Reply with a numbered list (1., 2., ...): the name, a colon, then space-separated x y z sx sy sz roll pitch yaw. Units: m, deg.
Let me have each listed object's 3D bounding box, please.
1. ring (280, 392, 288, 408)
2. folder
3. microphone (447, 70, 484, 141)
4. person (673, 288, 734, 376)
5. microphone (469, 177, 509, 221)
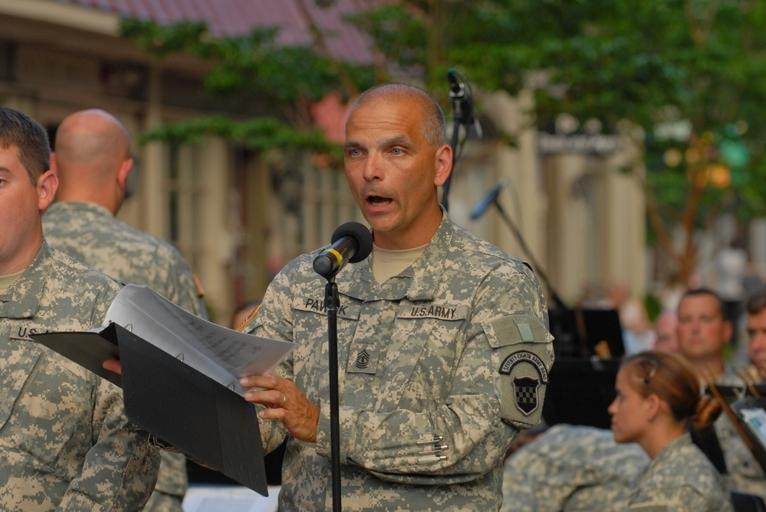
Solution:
1. ring: -0.562 0.827 8.731 0.016 0.070 0.070 -4 -27 -29
2. folder: -1.167 0.757 8.757 1.273 1.087 0.241 3 1 -3
3. microphone: 0.549 -1.051 10.575 0.160 0.563 0.295 1 -5 -4
4. person: 2.249 0.538 10.806 0.441 0.802 0.476 -6 -12 23
5. microphone: 0.878 -0.480 12.603 0.207 0.283 0.920 -8 10 16
